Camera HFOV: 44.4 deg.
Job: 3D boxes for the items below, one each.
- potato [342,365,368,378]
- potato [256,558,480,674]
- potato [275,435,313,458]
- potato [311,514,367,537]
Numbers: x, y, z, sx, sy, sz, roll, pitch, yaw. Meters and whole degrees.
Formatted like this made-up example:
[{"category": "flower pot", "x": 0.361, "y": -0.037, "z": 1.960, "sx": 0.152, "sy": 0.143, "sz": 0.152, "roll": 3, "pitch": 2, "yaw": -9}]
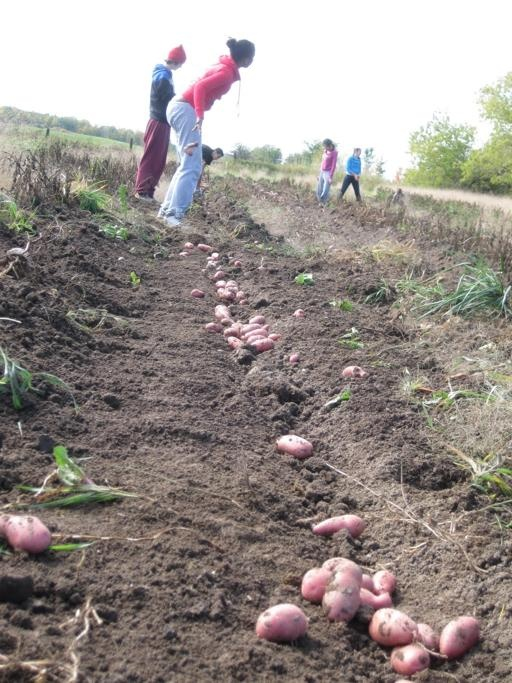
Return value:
[{"category": "potato", "x": 0.592, "y": 0.177, "z": 3.786, "sx": 0.108, "sy": 0.037, "sz": 0.074, "roll": 0, "pitch": 7, "yaw": 22}, {"category": "potato", "x": 0.414, "y": 0.968, "z": 2.244, "sx": 0.723, "sy": 0.179, "sz": 0.476, "roll": 11, "pitch": 8, "yaw": 16}, {"category": "potato", "x": 0.190, "y": 0.539, "z": 3.272, "sx": 0.160, "sy": 0.080, "sz": 0.107, "roll": 16, "pitch": 7, "yaw": -13}, {"category": "potato", "x": 0.366, "y": 0.794, "z": 2.715, "sx": 0.242, "sy": 0.095, "sz": 0.130, "roll": 8, "pitch": 8, "yaw": -2}]
